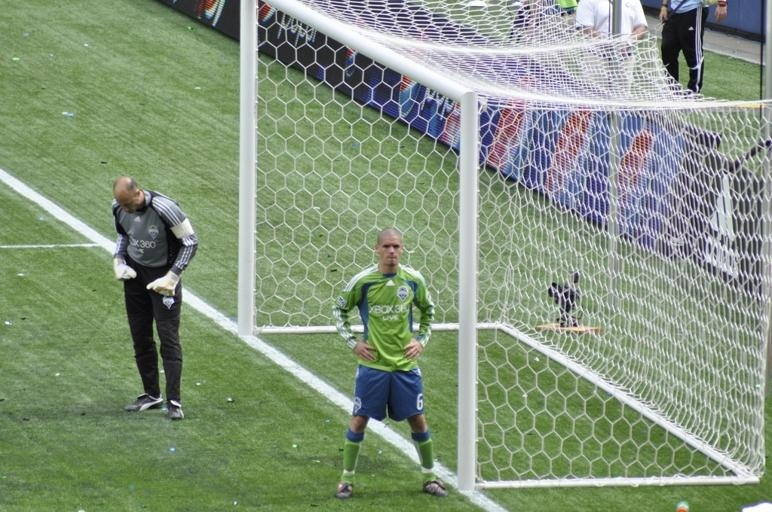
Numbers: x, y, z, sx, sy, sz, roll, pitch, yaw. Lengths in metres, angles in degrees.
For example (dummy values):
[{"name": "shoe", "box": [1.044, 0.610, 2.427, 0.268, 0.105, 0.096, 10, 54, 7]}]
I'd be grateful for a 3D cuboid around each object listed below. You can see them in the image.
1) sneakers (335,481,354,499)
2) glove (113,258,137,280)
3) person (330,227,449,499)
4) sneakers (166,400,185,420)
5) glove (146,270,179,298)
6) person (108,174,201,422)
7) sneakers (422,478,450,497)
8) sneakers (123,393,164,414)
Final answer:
[{"name": "sneakers", "box": [-0.320, 1.869, 12.772, 0.156, 0.101, 0.060, -15, -11, -8]}, {"name": "glove", "box": [-2.175, 0.127, 13.481, 0.179, 0.172, 0.192, 2, 19, -13]}, {"name": "person", "box": [0.071, 0.855, 12.846, 0.959, 2.067, 0.812, 3, 20, -10]}, {"name": "sneakers", "box": [-1.737, 1.291, 13.463, 0.157, 0.154, 0.146, -5, 22, -30]}, {"name": "glove", "box": [-1.826, 0.238, 13.356, 0.232, 0.217, 0.093, -34, 23, 7]}, {"name": "person", "box": [-1.958, 0.343, 13.411, 0.813, 1.942, 0.641, 7, 20, 1]}, {"name": "sneakers", "box": [0.406, 1.863, 12.841, 0.205, 0.079, 0.103, 10, 1, 14]}, {"name": "sneakers", "box": [-2.014, 1.250, 13.545, 0.361, 0.125, 0.112, -1, 4, -17]}]
